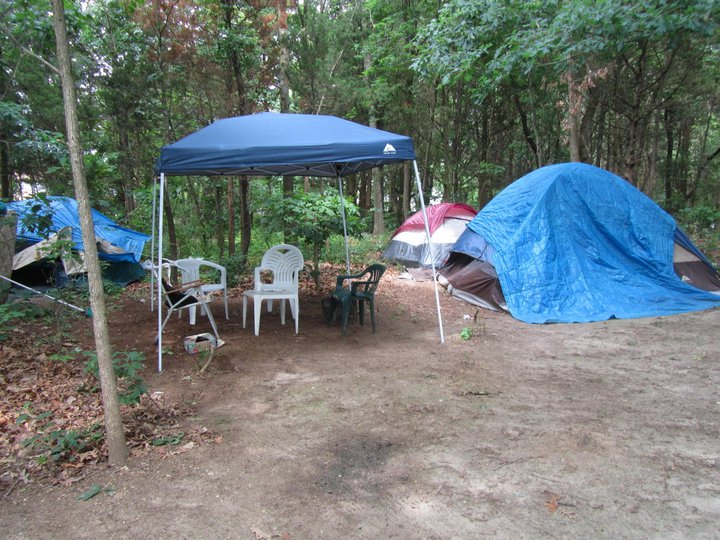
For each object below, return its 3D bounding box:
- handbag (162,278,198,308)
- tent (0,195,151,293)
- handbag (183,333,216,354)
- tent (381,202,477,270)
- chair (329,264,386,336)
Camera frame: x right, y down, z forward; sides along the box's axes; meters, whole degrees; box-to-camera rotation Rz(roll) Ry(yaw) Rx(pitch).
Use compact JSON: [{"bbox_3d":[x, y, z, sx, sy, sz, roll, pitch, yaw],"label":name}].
[{"bbox_3d":[-2.877,0.408,8.943,0.573,0.527,0.430,-8,17,-15],"label":"handbag"},{"bbox_3d":[-5.955,-0.424,11.670,2.866,1.378,2.952,3,17,-6],"label":"tent"},{"bbox_3d":[-2.278,1.073,8.061,0.389,0.200,0.426,-5,9,-29],"label":"handbag"},{"bbox_3d":[2.048,-1.029,14.584,2.606,1.442,2.623,5,9,39],"label":"tent"},{"bbox_3d":[-0.088,0.438,9.273,0.874,1.041,0.919,-2,10,-43],"label":"chair"}]
